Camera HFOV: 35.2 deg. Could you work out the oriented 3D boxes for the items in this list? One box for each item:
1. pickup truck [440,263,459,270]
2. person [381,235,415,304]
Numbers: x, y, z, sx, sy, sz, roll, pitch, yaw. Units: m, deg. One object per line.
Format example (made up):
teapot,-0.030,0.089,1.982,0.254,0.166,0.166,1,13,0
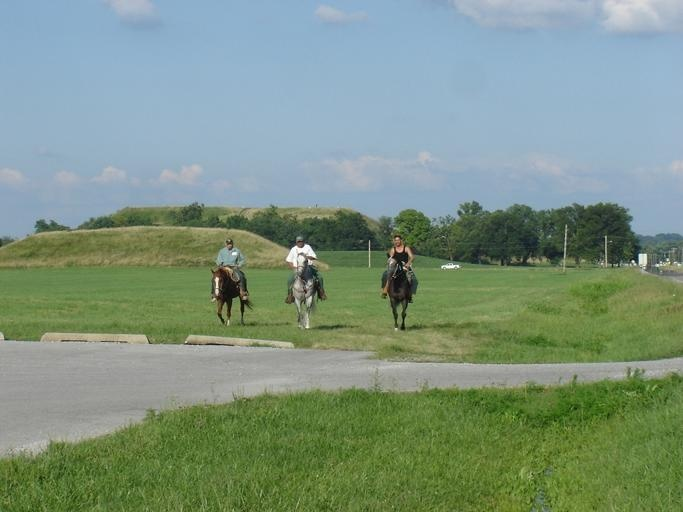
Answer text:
pickup truck,16.172,1.365,162.288,3.059,1.135,1.701,3,-4,2
person,2.227,0.265,43.101,1.022,3.145,1.007,-1,3,12
